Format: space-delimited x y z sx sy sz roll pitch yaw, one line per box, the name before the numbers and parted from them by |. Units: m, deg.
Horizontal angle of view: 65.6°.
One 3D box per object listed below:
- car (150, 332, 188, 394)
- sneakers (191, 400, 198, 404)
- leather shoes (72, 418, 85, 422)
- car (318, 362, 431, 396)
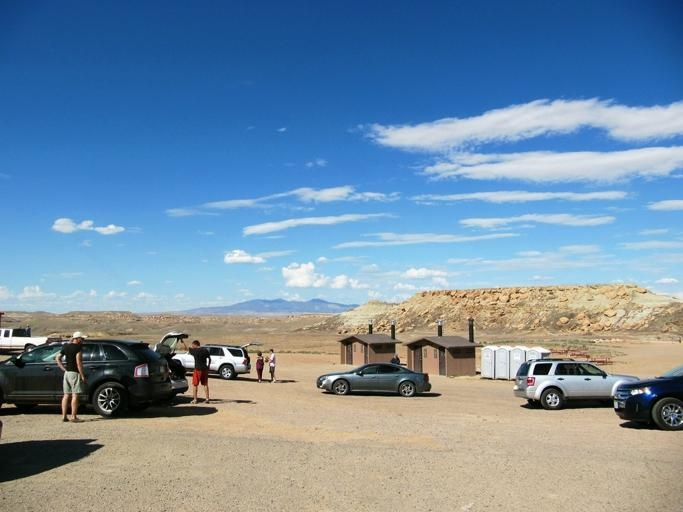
car | -5.874 3.259 17.861 1.104 1.547 0.953 8 37 -7
sneakers | -4.917 4.876 17.674 0.158 0.122 0.358 0 -4 -7
leather shoes | -6.803 4.230 13.630 0.322 0.094 0.094 -2 -7 18
car | 1.354 5.223 22.565 4.708 0.961 1.640 3 -14 2
